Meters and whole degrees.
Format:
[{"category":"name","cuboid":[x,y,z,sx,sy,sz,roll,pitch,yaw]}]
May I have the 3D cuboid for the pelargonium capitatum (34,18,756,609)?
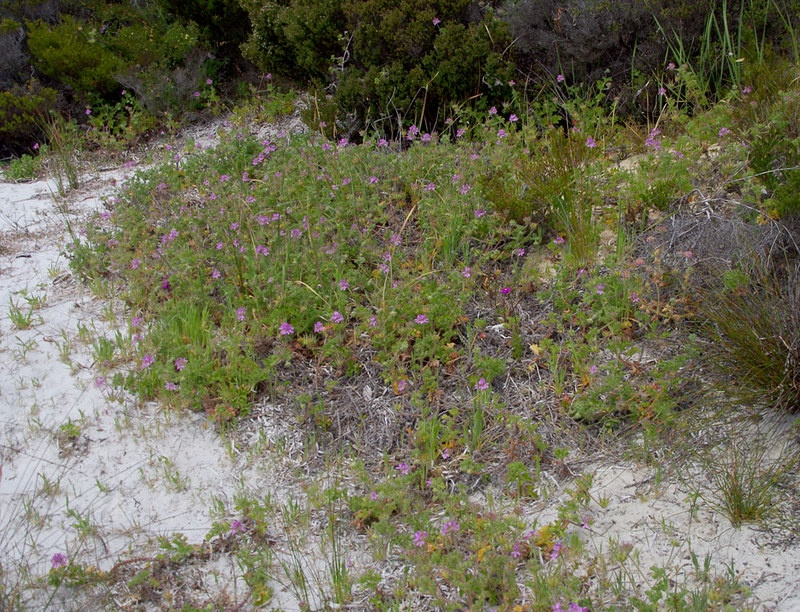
[{"category":"pelargonium capitatum","cuboid":[-0.041,0.423,4.471,3.028,1.248,3.332,-13,41,-14]}]
